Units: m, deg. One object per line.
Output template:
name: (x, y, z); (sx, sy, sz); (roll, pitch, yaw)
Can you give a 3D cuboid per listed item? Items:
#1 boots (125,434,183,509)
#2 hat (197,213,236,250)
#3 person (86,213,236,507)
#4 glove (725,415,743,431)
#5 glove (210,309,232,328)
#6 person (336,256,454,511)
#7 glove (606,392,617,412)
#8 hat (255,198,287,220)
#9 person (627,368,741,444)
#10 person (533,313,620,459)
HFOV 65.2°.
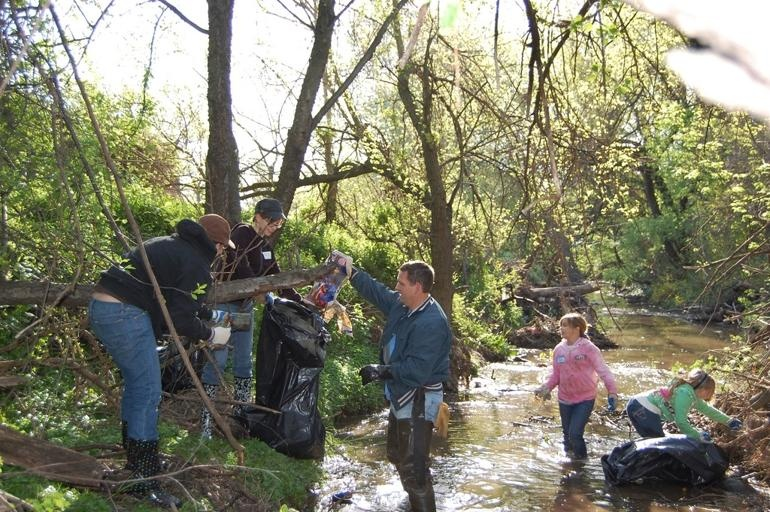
boots: (-2.160, 2.010, 5.568); (0.520, 0.639, 0.353); (0, -4, -10)
hat: (-1.700, -0.193, 6.198); (0.398, 0.220, 0.275); (32, 10, -41)
person: (-2.114, 0.925, 5.665); (1.232, 2.744, 0.609); (1, -4, -28)
glove: (4.563, 2.170, 7.809); (0.128, 0.170, 0.308); (-3, -6, 36)
glove: (-1.683, 0.656, 6.279); (0.163, 0.165, 0.251); (1, -11, 4)
person: (0.153, 1.440, 6.698); (1.085, 2.746, 0.646); (-3, -4, 40)
glove: (3.111, 1.988, 8.163); (0.098, 0.265, 0.390); (-2, -5, 18)
hat: (-1.422, -0.561, 7.459); (0.312, 0.174, 0.234); (6, 5, -15)
person: (4.205, 2.098, 8.302); (0.965, 1.139, 0.662); (26, 21, 9)
person: (2.670, 1.778, 8.359); (1.052, 1.959, 0.509); (-2, -4, 21)
